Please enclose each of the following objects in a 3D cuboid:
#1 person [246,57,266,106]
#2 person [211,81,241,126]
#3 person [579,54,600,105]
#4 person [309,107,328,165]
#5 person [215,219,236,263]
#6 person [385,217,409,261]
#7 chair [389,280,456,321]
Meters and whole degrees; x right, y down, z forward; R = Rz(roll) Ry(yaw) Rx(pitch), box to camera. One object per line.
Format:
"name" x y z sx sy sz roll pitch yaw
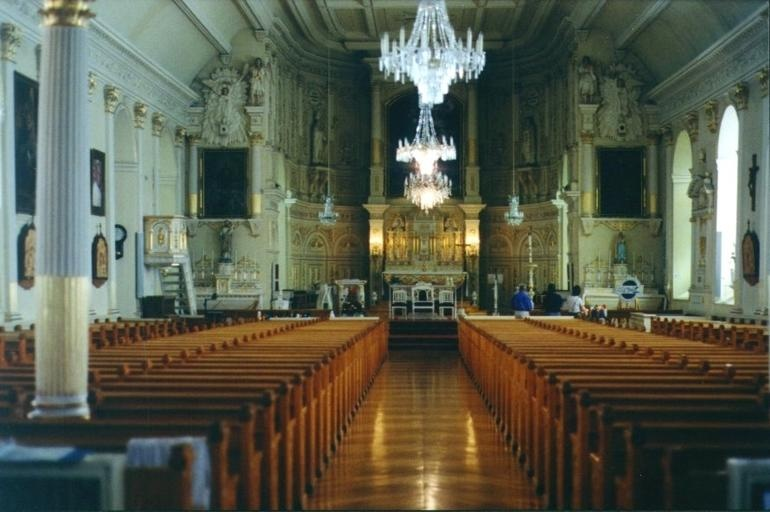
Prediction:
"person" -3.734 -5.027 29.543 0.518 1.378 0.308 -1 -4 -8
"person" -4.623 -4.347 29.693 0.612 1.392 0.273 -2 -4 -3
"person" 5.897 -5.107 29.551 0.589 1.365 0.235 -2 -4 11
"person" -2.231 -4.010 34.318 0.672 1.849 0.203 1 -5 -39
"person" -4.580 -0.441 29.520 0.426 1.255 0.377 -1 -4 -9
"person" 0.397 -0.603 34.684 0.734 1.544 0.301 -2 -4 4
"chair" 1.183 1.349 31.649 1.968 1.161 2.585 -1 -5 -6
